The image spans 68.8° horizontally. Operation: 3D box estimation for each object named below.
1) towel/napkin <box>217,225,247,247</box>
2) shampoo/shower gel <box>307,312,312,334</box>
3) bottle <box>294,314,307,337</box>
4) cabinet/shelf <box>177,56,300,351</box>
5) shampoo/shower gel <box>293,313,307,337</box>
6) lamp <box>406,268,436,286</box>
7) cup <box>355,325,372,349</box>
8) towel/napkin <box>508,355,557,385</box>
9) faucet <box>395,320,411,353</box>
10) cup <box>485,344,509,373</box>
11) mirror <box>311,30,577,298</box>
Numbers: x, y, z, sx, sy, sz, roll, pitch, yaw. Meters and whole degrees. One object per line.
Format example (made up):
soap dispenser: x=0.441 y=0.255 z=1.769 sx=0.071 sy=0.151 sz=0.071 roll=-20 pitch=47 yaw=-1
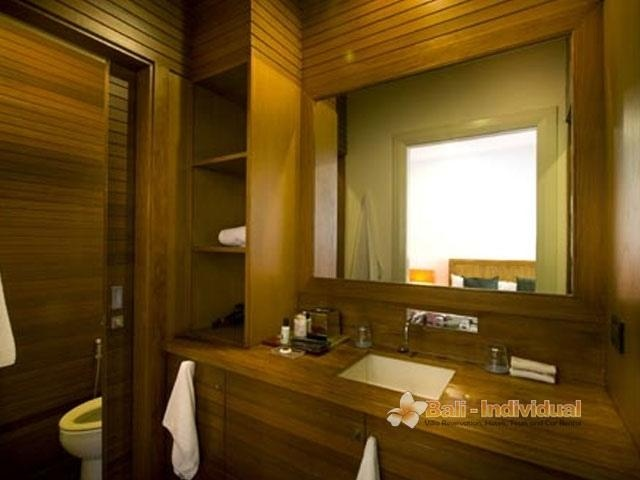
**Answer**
towel/napkin: x=-0.519 y=-0.024 z=2.694 sx=0.157 sy=0.061 sz=0.118 roll=-5 pitch=-5 yaw=-1
shampoo/shower gel: x=-0.067 y=0.454 z=2.597 sx=0.026 sy=0.111 sz=0.033 roll=0 pitch=1 yaw=-14
bottle: x=-0.110 y=0.465 z=2.549 sx=0.067 sy=0.122 sz=0.037 roll=0 pitch=1 yaw=-8
cabinet/shelf: x=-0.472 y=-0.238 z=2.744 sx=0.521 sy=1.585 sz=0.551 roll=1 pitch=1 yaw=38
shampoo/shower gel: x=-0.137 y=0.470 z=2.616 sx=0.100 sy=0.174 sz=0.104 roll=0 pitch=-3 yaw=-7
lamp: x=0.519 y=0.183 z=2.407 sx=0.133 sy=0.077 sz=0.088 roll=2 pitch=1 yaw=27
cup: x=0.232 y=0.517 z=2.510 sx=0.099 sy=0.114 sz=0.101 roll=0 pitch=-7 yaw=0
towel/napkin: x=0.981 y=0.590 z=2.152 sx=0.137 sy=0.043 sz=0.110 roll=8 pitch=29 yaw=24
faucet: x=0.433 y=0.500 z=2.429 sx=0.060 sy=0.158 sz=0.062 roll=0 pitch=1 yaw=21
cup: x=0.843 y=0.568 z=2.263 sx=0.109 sy=0.115 sz=0.117 roll=0 pitch=-4 yaw=0
mirror: x=0.662 y=-0.386 z=2.344 sx=1.410 sy=1.408 sz=0.100 roll=-1 pitch=-3 yaw=34
